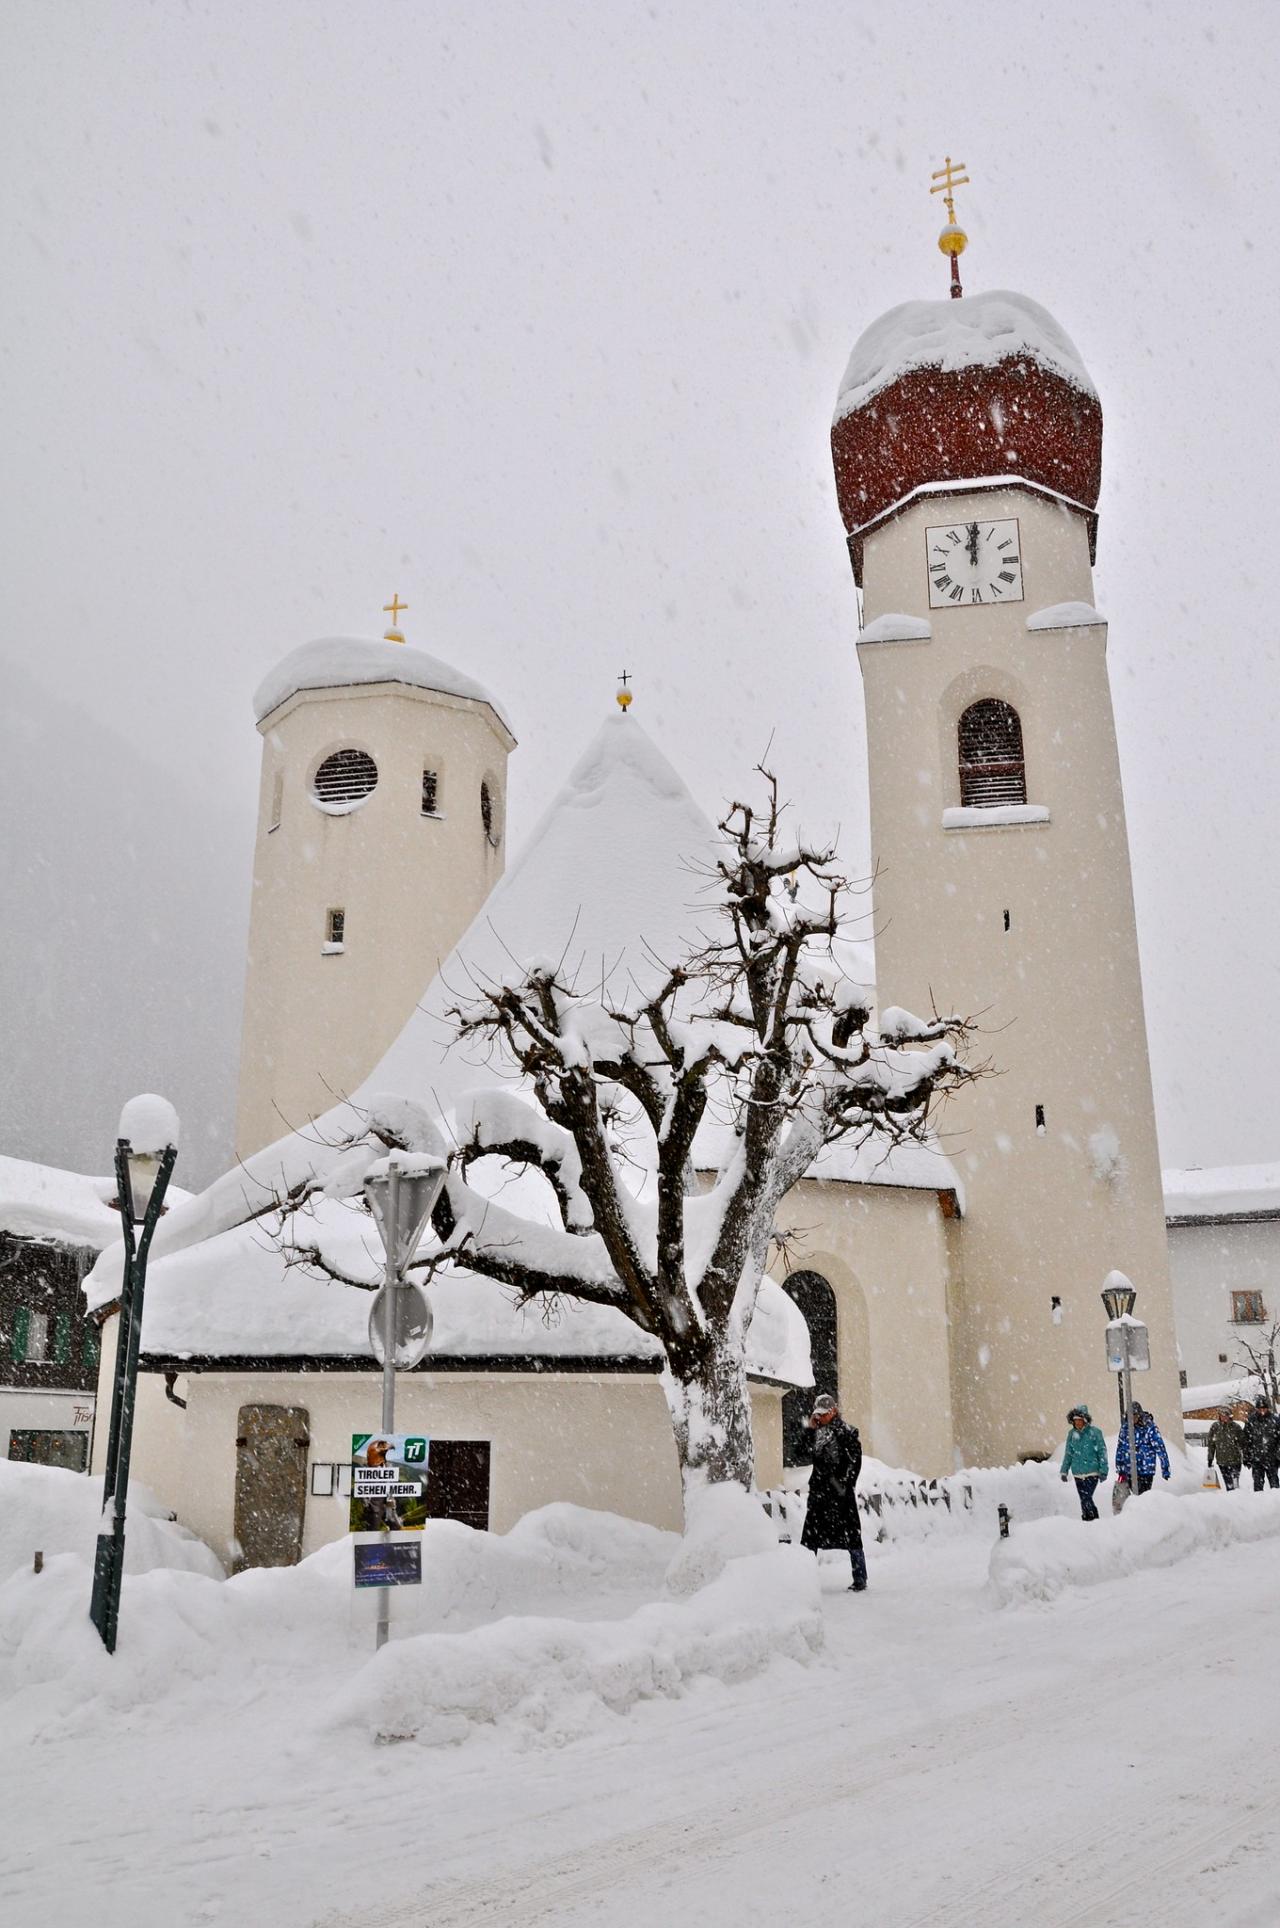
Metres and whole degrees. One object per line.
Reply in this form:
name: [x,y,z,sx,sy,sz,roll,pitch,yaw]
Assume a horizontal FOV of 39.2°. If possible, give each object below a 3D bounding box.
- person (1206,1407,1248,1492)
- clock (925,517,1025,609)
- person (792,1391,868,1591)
person: [6.969,5.811,21.350,0.424,0.950,3.109,-4,-12,17]
clock: [5.507,-6.469,29.187,1.263,1.544,0.241,1,-10,11]
person: [1.472,4.003,13.699,0.466,1.367,1.325,-2,-11,5]
